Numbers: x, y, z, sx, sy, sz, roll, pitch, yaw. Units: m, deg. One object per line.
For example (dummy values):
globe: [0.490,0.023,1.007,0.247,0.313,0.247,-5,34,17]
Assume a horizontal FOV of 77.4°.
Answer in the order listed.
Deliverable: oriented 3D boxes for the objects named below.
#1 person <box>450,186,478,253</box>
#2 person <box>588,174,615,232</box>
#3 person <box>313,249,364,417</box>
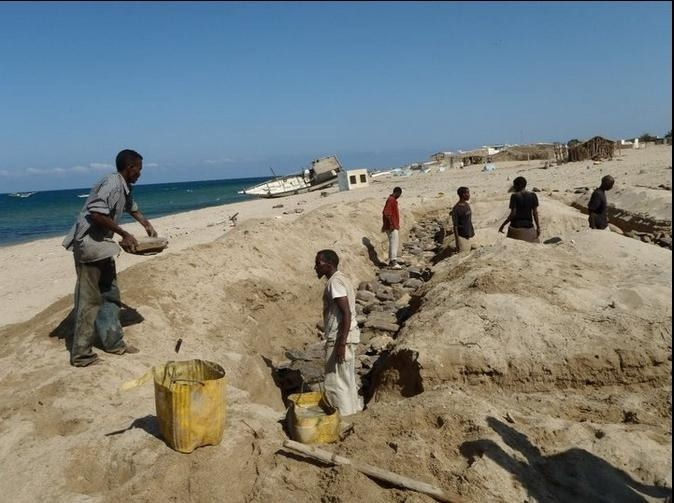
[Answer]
person: [2.439,-0.619,8.177,0.339,1.316,0.507,3,19,23]
person: [4.628,-0.822,7.426,0.330,1.046,1.365,6,19,32]
person: [0.004,0.949,4.452,0.460,1.891,0.631,-5,17,1]
